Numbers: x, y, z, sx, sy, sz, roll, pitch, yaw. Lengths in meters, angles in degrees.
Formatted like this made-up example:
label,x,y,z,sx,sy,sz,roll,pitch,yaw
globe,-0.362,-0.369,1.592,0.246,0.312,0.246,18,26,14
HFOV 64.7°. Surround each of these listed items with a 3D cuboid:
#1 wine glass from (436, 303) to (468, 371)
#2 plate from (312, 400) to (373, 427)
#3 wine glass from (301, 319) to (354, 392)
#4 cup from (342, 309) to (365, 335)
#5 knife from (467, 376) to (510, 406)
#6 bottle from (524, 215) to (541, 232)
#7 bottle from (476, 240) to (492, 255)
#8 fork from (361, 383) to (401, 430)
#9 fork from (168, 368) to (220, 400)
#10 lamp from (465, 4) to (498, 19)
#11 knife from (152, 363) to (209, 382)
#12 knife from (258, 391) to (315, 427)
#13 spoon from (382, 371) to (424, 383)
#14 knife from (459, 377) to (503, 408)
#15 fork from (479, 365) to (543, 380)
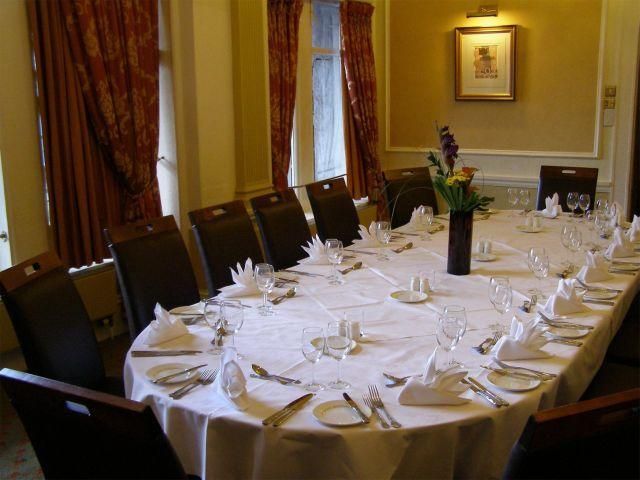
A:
label,x,y,z,sx,sy,sz,roll,pitch,yaw
wine glass,0.462,0.333,1.772,0.086,0.257,0.369,1,19,15
plate,0.059,0.522,1.523,0.158,0.026,0.120,-4,18,4
wine glass,0.027,0.397,1.676,0.183,0.282,0.100,-1,1,-5
cup,0.131,0.321,1.972,0.081,0.111,0.094,0,7,4
knife,0.542,0.480,1.612,0.042,0.018,0.189,-7,9,-13
bottle,1.492,-0.108,3.564,0.104,0.142,0.115,-2,8,8
bottle,0.992,0.046,3.058,0.077,0.098,0.085,2,11,15
fork,0.176,0.489,1.552,0.035,0.036,0.229,-19,17,-1
fork,-0.411,0.483,1.703,0.046,0.037,0.240,12,23,26
lamp,1.801,-2.521,5.592,0.336,0.147,0.067,3,18,24
knife,-0.483,0.465,1.757,0.023,0.012,0.213,26,12,22
knife,-0.101,0.504,1.527,0.048,0.011,0.220,8,11,24
spoon,0.281,0.470,1.712,0.134,0.018,0.076,-4,18,4
knife,0.534,0.494,1.625,0.044,0.013,0.154,-12,14,-16
fork,0.660,0.454,1.749,0.202,0.018,0.065,1,19,18
